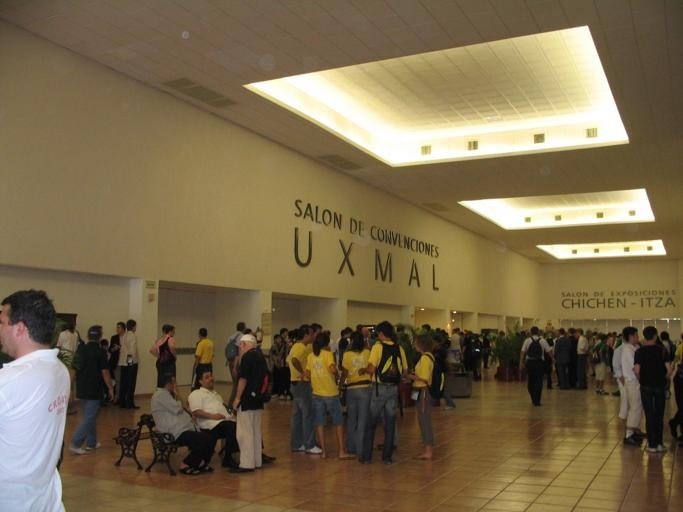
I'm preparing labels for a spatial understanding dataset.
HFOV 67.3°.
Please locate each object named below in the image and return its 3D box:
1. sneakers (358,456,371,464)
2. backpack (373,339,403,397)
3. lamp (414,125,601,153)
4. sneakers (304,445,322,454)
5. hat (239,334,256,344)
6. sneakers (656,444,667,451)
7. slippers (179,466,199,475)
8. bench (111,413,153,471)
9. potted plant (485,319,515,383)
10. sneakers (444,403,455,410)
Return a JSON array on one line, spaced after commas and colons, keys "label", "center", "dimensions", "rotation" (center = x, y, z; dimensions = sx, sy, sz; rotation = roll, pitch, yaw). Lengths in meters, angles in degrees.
[{"label": "sneakers", "center": [0.340, 3.108, 7.889], "dimensions": [0.231, 0.103, 0.080], "rotation": [-1, -6, 42]}, {"label": "backpack", "center": [0.752, 1.662, 8.048], "dimensions": [0.435, 0.690, 0.378], "rotation": [5, -17, -16]}, {"label": "lamp", "center": [5.555, -3.814, 17.216], "dimensions": [5.479, 0.531, 0.199], "rotation": [-3, -9, 23]}, {"label": "sneakers", "center": [-0.463, 3.168, 8.449], "dimensions": [0.282, 0.131, 0.114], "rotation": [-1, -6, 2]}, {"label": "hat", "center": [-1.403, 1.212, 7.629], "dimensions": [0.180, 0.077, 0.137], "rotation": [5, -7, 21]}, {"label": "sneakers", "center": [5.338, 3.183, 8.561], "dimensions": [0.143, 0.073, 0.198], "rotation": [-4, -4, 36]}, {"label": "slippers", "center": [-2.142, 3.010, 7.231], "dimensions": [0.212, 0.090, 0.113], "rotation": [-2, -1, 16]}, {"label": "bench", "center": [-3.371, 2.676, 8.163], "dimensions": [0.512, 0.778, 1.238], "rotation": [7, 2, -23]}, {"label": "potted plant", "center": [7.301, 4.369, 22.742], "dimensions": [1.129, 2.261, 1.492], "rotation": [2, -18, 9]}, {"label": "sneakers", "center": [2.853, 3.988, 13.664], "dimensions": [0.302, 0.218, 0.105], "rotation": [-1, -5, 27]}]
